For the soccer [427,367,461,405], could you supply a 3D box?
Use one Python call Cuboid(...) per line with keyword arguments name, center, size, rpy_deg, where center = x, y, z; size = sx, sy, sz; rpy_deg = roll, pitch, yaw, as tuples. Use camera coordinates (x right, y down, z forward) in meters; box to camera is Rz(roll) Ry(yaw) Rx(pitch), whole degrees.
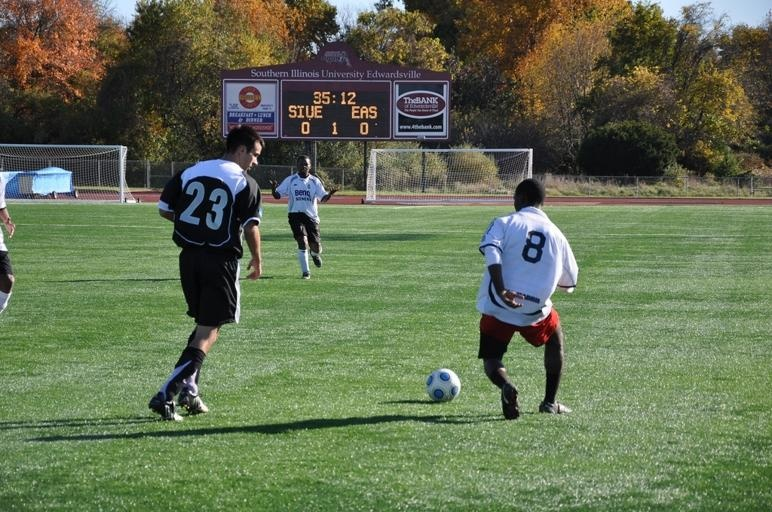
Cuboid(name="soccer", center=(1.520, 3.628, 35.915), size=(0.928, 0.903, 0.877), rpy_deg=(-35, -4, -2))
